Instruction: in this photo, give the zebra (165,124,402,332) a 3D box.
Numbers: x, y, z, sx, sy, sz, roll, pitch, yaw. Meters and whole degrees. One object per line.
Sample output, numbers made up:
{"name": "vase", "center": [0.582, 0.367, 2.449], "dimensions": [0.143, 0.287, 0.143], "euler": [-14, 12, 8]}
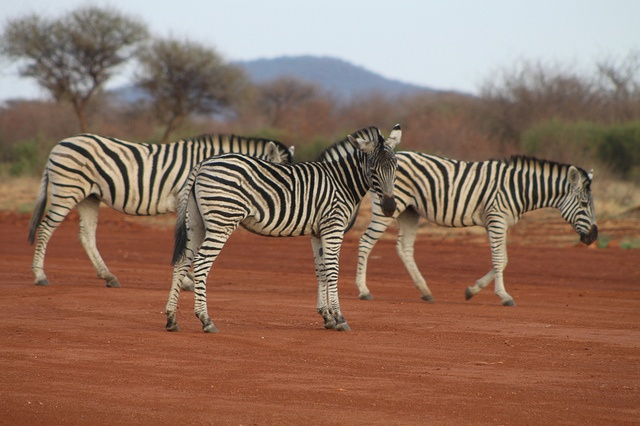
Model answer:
{"name": "zebra", "center": [-0.545, 0.334, 18.625], "dimensions": [4.987, 4.099, 1.362], "euler": [0, 1, -22]}
